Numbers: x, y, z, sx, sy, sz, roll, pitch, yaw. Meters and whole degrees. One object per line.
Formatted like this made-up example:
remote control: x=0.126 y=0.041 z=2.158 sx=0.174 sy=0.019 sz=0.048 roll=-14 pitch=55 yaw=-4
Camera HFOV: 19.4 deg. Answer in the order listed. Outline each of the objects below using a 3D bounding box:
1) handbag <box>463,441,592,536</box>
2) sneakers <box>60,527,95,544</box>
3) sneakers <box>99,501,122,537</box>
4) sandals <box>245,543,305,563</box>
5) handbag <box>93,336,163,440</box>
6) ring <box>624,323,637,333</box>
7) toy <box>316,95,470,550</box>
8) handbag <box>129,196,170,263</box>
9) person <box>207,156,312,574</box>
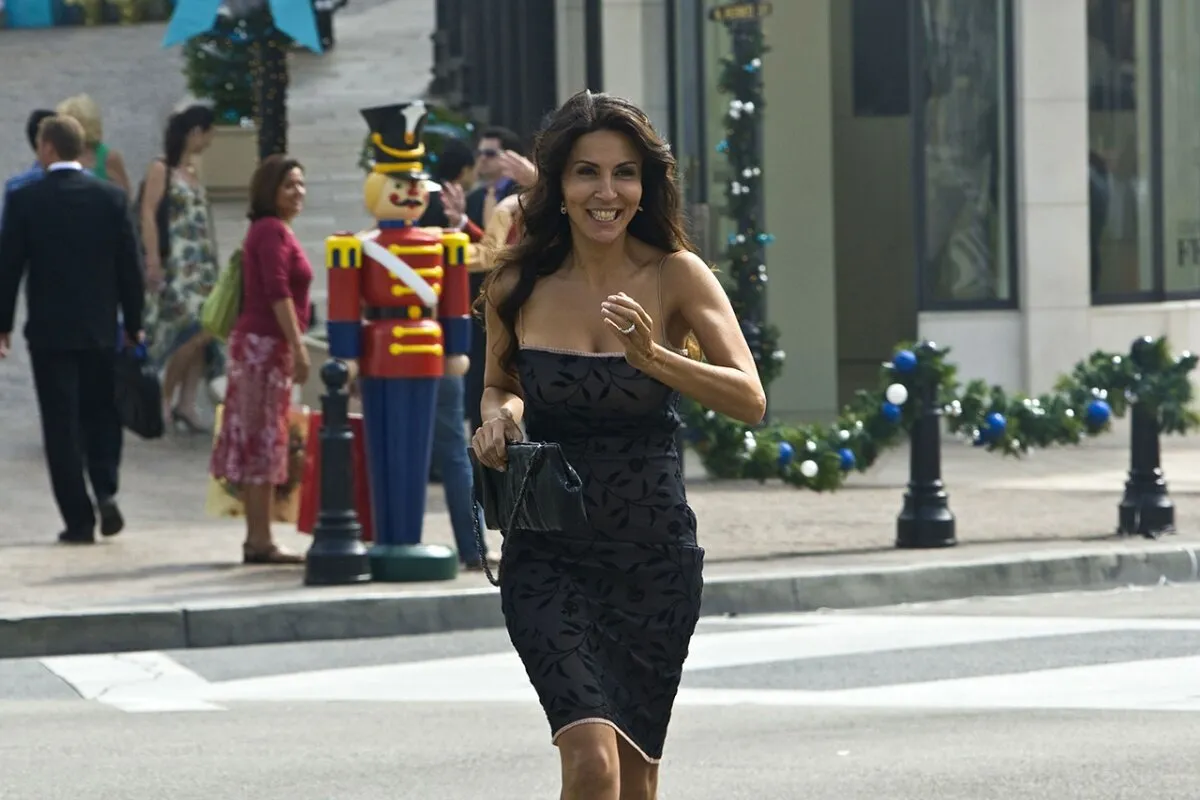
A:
handbag: x=-0.241 y=0.298 z=11.833 sx=0.382 sy=0.310 sz=0.086 roll=2 pitch=5 yaw=21
sneakers: x=-2.344 y=0.603 z=15.758 sx=0.175 sy=0.071 sz=0.064 roll=7 pitch=6 yaw=37
sneakers: x=-2.191 y=0.542 z=15.772 sx=0.081 sy=0.169 sz=0.083 roll=-17 pitch=21 yaw=-29
sandals: x=-1.462 y=0.683 z=15.687 sx=0.284 sy=0.100 sz=0.094 roll=1 pitch=-1 yaw=-14
handbag: x=-2.081 y=-0.024 z=15.679 sx=0.321 sy=0.587 sz=0.423 roll=-6 pitch=-7 yaw=-10
ring: x=0.101 y=-0.238 z=11.739 sx=0.032 sy=0.009 sz=0.031 roll=-21 pitch=6 yaw=2
toy: x=-0.868 y=-0.312 z=15.110 sx=0.621 sy=1.921 sz=0.603 roll=0 pitch=5 yaw=-4
handbag: x=-1.906 y=-0.736 z=15.244 sx=0.078 sy=0.230 sz=0.175 roll=-5 pitch=15 yaw=-32
person: x=-1.491 y=-0.133 z=15.471 sx=0.445 sy=1.740 sz=1.511 roll=0 pitch=5 yaw=-5
